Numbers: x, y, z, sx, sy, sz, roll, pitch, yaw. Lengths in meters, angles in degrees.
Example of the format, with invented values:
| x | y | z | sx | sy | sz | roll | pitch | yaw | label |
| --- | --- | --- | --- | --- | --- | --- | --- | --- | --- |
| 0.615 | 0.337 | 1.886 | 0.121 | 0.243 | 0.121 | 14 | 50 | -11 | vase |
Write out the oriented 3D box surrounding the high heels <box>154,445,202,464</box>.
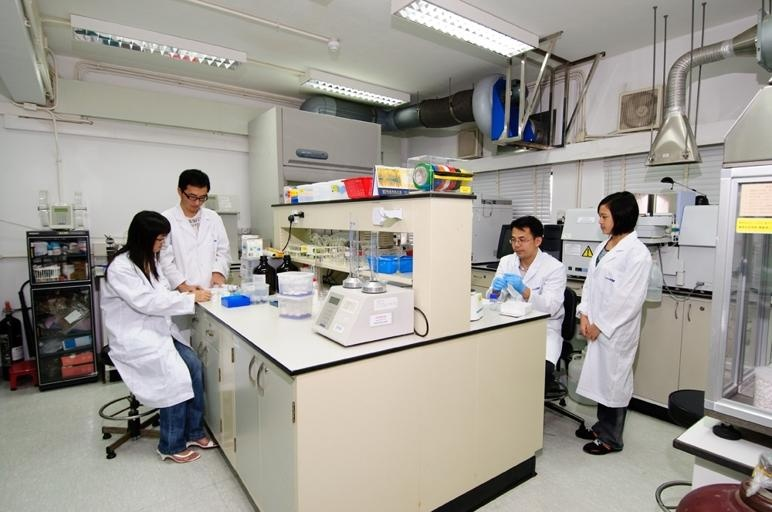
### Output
| x | y | z | sx | sy | sz | roll | pitch | yaw | label |
| --- | --- | --- | --- | --- | --- | --- | --- | --- | --- |
| -1.695 | 1.608 | 4.178 | 0.262 | 0.088 | 0.145 | -1 | -1 | -5 | high heels |

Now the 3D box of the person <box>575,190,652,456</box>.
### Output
| x | y | z | sx | sy | sz | roll | pitch | yaw | label |
| --- | --- | --- | --- | --- | --- | --- | --- | --- | --- |
| 1.896 | 0.551 | 4.309 | 0.563 | 2.126 | 0.479 | -1 | 7 | 9 | person |

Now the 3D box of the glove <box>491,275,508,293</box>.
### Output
| x | y | z | sx | sy | sz | roll | pitch | yaw | label |
| --- | --- | --- | --- | --- | --- | --- | --- | --- | --- |
| 0.954 | 0.240 | 4.345 | 0.064 | 0.110 | 0.147 | -1 | 50 | 2 | glove |

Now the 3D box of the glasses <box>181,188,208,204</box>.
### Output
| x | y | z | sx | sy | sz | roll | pitch | yaw | label |
| --- | --- | --- | --- | --- | --- | --- | --- | --- | --- |
| -1.719 | -0.496 | 4.540 | 0.142 | 0.047 | 0.137 | 23 | 14 | 37 | glasses |

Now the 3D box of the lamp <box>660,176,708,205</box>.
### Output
| x | y | z | sx | sy | sz | roll | pitch | yaw | label |
| --- | --- | --- | --- | --- | --- | --- | --- | --- | --- |
| 2.811 | -0.610 | 4.873 | 0.428 | 0.259 | 0.477 | 3 | 8 | 34 | lamp |

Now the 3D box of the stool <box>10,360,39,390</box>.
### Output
| x | y | z | sx | sy | sz | roll | pitch | yaw | label |
| --- | --- | --- | --- | --- | --- | --- | --- | --- | --- |
| -3.698 | 1.159 | 5.227 | 0.272 | 0.210 | 0.269 | -12 | 27 | -44 | stool |

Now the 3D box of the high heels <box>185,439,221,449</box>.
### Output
| x | y | z | sx | sy | sz | roll | pitch | yaw | label |
| --- | --- | --- | --- | --- | --- | --- | --- | --- | --- |
| -1.529 | 1.559 | 4.275 | 0.239 | 0.075 | 0.097 | 0 | -4 | -2 | high heels |

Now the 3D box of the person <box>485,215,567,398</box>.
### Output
| x | y | z | sx | sy | sz | roll | pitch | yaw | label |
| --- | --- | --- | --- | --- | --- | --- | --- | --- | --- |
| 1.252 | 0.418 | 4.513 | 0.603 | 1.500 | 0.638 | 1 | 7 | 19 | person |

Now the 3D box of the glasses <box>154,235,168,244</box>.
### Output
| x | y | z | sx | sy | sz | roll | pitch | yaw | label |
| --- | --- | --- | --- | --- | --- | --- | --- | --- | --- |
| -1.791 | -0.127 | 4.087 | 0.073 | 0.077 | 0.025 | 0 | -1 | -33 | glasses |

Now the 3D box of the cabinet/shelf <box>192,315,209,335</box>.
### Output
| x | y | z | sx | sy | sz | roll | pitch | yaw | label |
| --- | --- | --- | --- | --- | --- | --- | --- | --- | --- |
| -1.552 | 0.579 | 4.302 | 0.104 | 0.187 | 0.195 | -7 | 9 | -39 | cabinet/shelf |

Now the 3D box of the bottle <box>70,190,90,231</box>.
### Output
| x | y | z | sx | sy | sz | roll | pitch | yaw | label |
| --- | --- | --- | --- | --- | --- | --- | --- | --- | --- |
| -3.233 | -0.466 | 5.416 | 0.120 | 0.398 | 0.392 | -5 | 8 | -27 | bottle |

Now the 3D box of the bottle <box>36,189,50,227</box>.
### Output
| x | y | z | sx | sy | sz | roll | pitch | yaw | label |
| --- | --- | --- | --- | --- | --- | --- | --- | --- | --- |
| -3.455 | -0.459 | 5.196 | 0.092 | 0.375 | 0.305 | -6 | 8 | -32 | bottle |

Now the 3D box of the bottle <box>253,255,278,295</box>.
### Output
| x | y | z | sx | sy | sz | roll | pitch | yaw | label |
| --- | --- | --- | --- | --- | --- | --- | --- | --- | --- |
| -1.109 | 0.181 | 4.645 | 0.209 | 0.370 | 0.211 | 1 | 9 | 0 | bottle |

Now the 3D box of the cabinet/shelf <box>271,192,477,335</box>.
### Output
| x | y | z | sx | sy | sz | roll | pitch | yaw | label |
| --- | --- | --- | --- | --- | --- | --- | --- | --- | --- |
| -0.301 | 0.004 | 4.442 | 0.558 | 1.092 | 2.203 | -15 | 14 | -40 | cabinet/shelf |

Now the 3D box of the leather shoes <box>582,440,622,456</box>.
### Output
| x | y | z | sx | sy | sz | roll | pitch | yaw | label |
| --- | --- | --- | --- | --- | --- | --- | --- | --- | --- |
| 1.808 | 1.593 | 4.314 | 0.345 | 0.138 | 0.118 | 4 | 0 | -2 | leather shoes |

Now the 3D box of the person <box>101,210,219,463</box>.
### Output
| x | y | z | sx | sy | sz | roll | pitch | yaw | label |
| --- | --- | --- | --- | --- | --- | --- | --- | --- | --- |
| -1.820 | 0.664 | 4.107 | 0.802 | 2.019 | 0.421 | -4 | 7 | -21 | person |

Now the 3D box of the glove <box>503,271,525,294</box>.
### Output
| x | y | z | sx | sy | sz | roll | pitch | yaw | label |
| --- | --- | --- | --- | --- | --- | --- | --- | --- | --- |
| 1.076 | 0.226 | 4.317 | 0.117 | 0.203 | 0.071 | -49 | 12 | -25 | glove |
